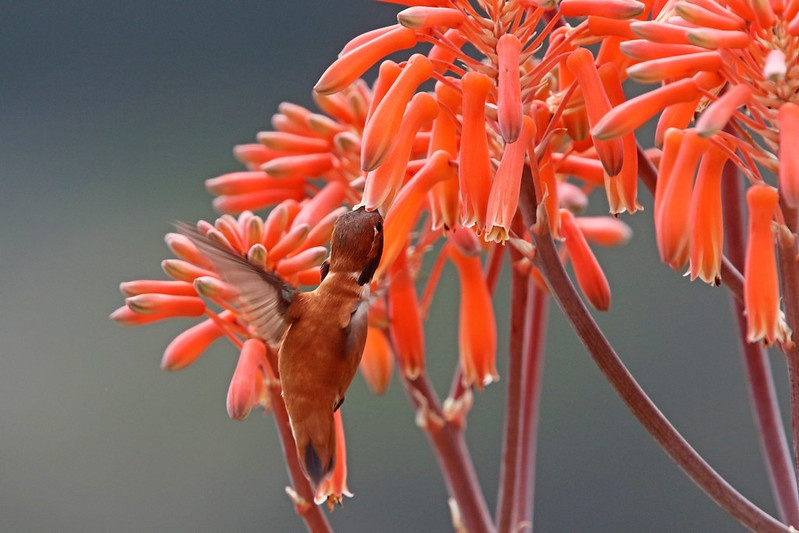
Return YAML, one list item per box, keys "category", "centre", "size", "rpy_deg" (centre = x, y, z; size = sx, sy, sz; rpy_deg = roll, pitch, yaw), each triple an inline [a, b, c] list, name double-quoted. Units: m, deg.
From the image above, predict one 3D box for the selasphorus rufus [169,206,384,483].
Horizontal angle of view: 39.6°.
- category: "selasphorus rufus"
  centre: [-0.228, 0.177, 2.900]
  size: [0.586, 0.600, 0.600]
  rpy_deg: [8, -26, -45]
